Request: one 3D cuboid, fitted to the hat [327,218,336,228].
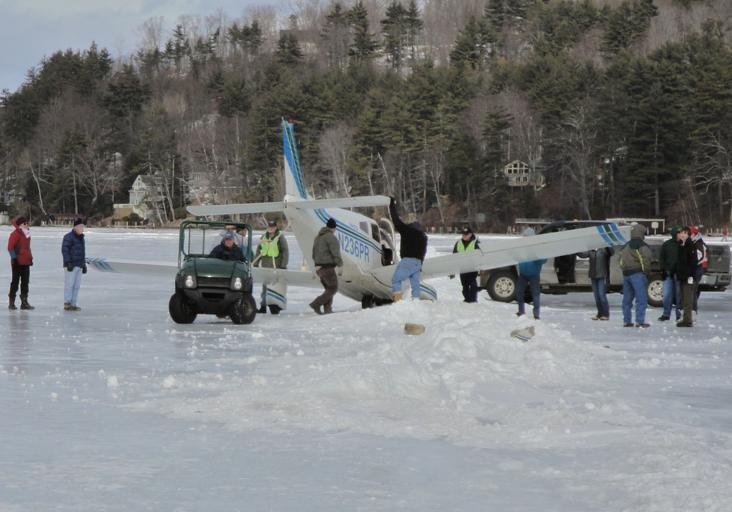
[{"bbox_3d":[-3.150,-2.991,128.613,0.824,0.788,0.829,13,18,42],"label":"hat"}]

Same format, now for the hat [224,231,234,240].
[{"bbox_3d":[-12.151,-1.904,127.947,0.677,0.696,0.912,0,-5,4],"label":"hat"}]

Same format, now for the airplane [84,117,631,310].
[{"bbox_3d":[2.070,-5.729,169.254,40.660,20.447,65.598,-2,7,2],"label":"airplane"}]

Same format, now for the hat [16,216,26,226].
[{"bbox_3d":[-30.898,-3.229,129.555,0.838,0.859,0.468,-4,14,-14],"label":"hat"}]

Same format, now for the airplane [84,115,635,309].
[{"bbox_3d":[1.214,-1.952,129.371,43.524,12.807,4.962,0,14,1],"label":"airplane"}]
